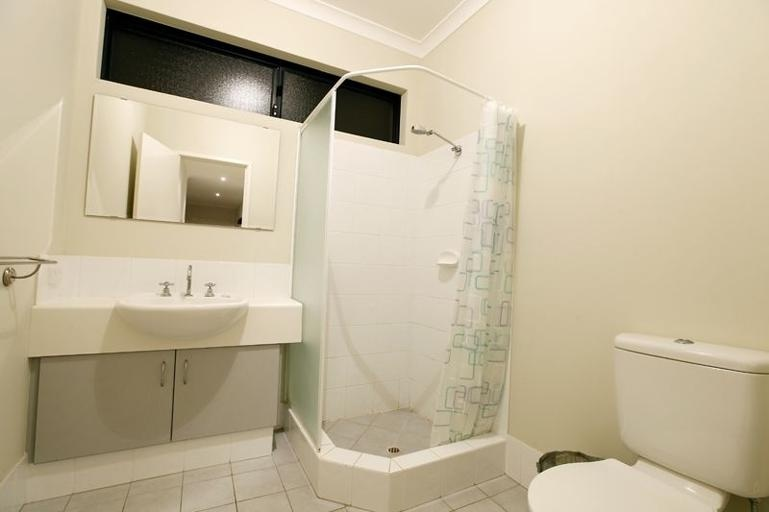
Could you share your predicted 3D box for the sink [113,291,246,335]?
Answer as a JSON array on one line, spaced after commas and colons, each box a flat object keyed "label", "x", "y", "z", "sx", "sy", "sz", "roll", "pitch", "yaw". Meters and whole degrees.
[{"label": "sink", "x": -1.276, "y": 0.390, "z": 3.339, "sx": 0.784, "sy": 0.229, "sz": 0.372, "roll": 2, "pitch": 4, "yaw": -14}]

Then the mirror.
[{"label": "mirror", "x": -1.450, "y": -0.626, "z": 3.610, "sx": 1.026, "sy": 0.664, "sz": 0.040, "roll": 3, "pitch": -6, "yaw": -27}]
